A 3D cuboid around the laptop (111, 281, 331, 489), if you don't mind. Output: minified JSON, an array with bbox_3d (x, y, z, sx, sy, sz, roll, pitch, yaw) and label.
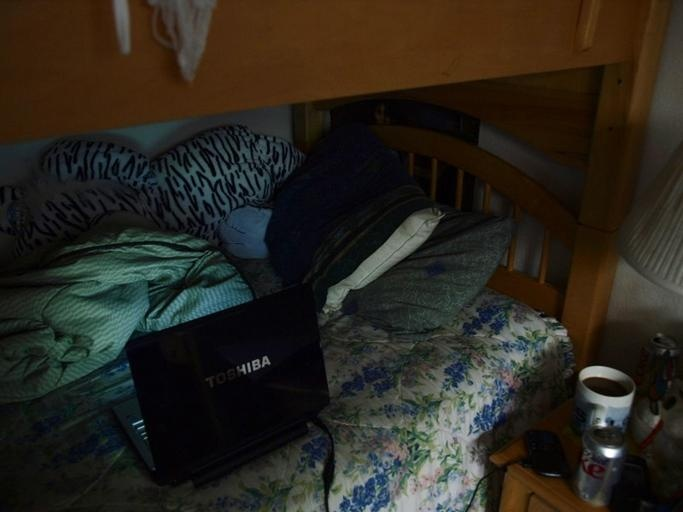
[{"bbox_3d":[-0.281,0.270,1.371,0.486,0.447,0.375,-23,31,-22],"label":"laptop"}]

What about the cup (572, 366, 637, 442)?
[{"bbox_3d":[0.644,0.353,1.392,0.131,0.171,0.182,7,24,18],"label":"cup"}]

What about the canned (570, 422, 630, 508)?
[{"bbox_3d":[0.605,0.491,1.262,0.099,0.196,0.106,-2,27,-8],"label":"canned"}]
